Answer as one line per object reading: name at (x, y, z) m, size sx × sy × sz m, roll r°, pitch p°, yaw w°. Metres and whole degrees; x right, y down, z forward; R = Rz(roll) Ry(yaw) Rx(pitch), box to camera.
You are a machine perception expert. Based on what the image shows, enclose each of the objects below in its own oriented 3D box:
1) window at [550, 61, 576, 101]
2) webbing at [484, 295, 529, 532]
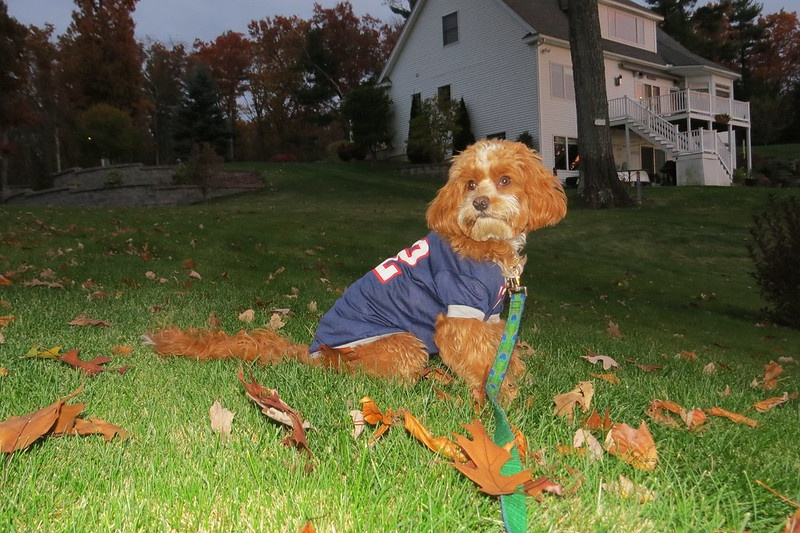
window at (7.878, -9.008, 28.130) m, size 1.854 × 1.692 × 0.414 m, roll -13°, pitch 16°, yaw -43°
webbing at (0.731, 0.939, 3.945) m, size 0.211 × 0.169 × 1.555 m, roll -35°, pitch 32°, yaw 31°
